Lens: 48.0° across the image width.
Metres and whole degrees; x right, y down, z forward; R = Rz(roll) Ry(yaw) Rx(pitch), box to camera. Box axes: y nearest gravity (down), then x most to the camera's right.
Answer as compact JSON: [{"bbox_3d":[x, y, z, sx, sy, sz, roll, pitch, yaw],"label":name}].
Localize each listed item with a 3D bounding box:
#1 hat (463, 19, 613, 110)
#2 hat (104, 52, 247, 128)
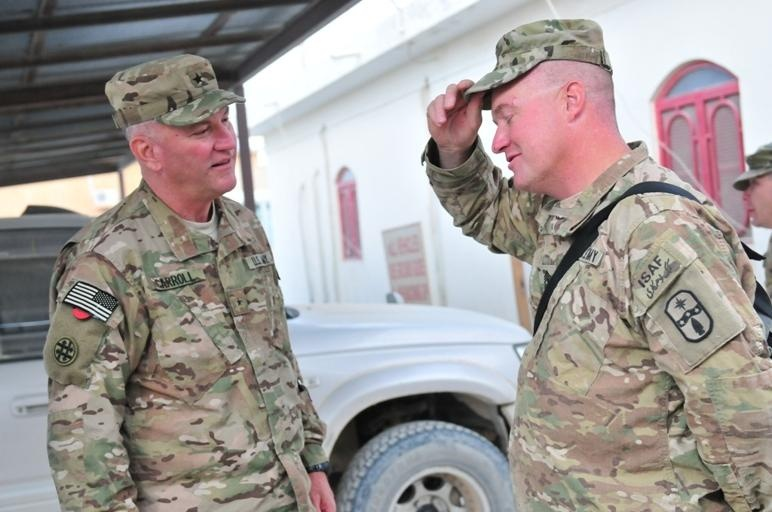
[{"bbox_3d":[0.645,-0.793,3.564,0.472,0.199,0.334,-12,-3,5],"label":"hat"},{"bbox_3d":[-0.923,-0.702,3.770,0.458,0.180,0.336,-4,13,14],"label":"hat"}]
